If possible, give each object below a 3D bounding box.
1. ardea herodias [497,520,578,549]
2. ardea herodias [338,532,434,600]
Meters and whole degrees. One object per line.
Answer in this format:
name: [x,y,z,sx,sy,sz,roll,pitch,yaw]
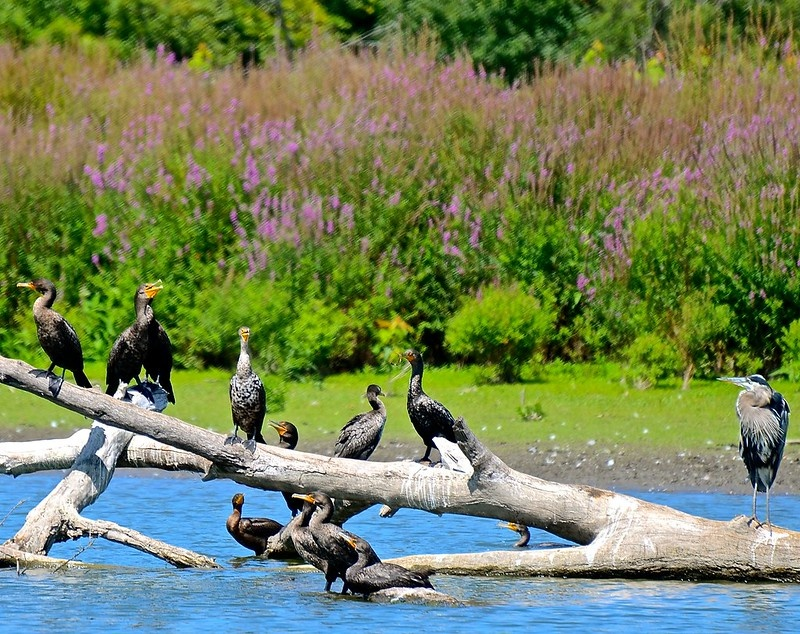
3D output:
ardea herodias: [1.820,2.830,25.021,1.157,0.464,0.345,-1,-5,6]
ardea herodias: [-0.156,3.038,23.020,1.254,0.730,0.451,6,10,-20]
